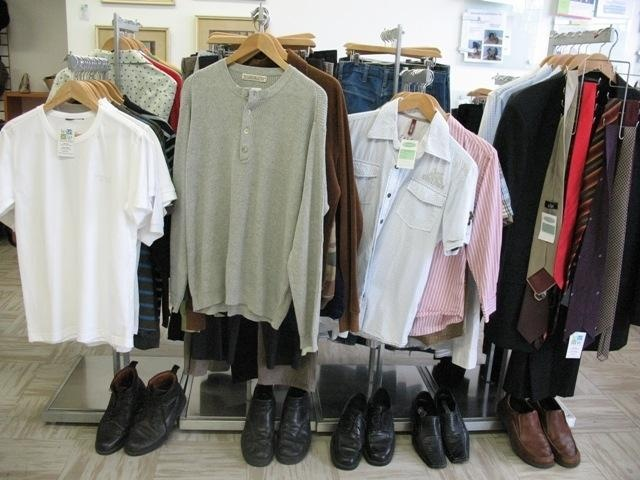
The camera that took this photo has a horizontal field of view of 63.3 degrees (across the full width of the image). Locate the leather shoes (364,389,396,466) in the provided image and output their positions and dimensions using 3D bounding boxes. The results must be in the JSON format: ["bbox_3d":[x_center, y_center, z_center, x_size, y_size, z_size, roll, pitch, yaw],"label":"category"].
[{"bbox_3d":[0.290,0.913,2.543,0.110,0.131,0.326,1,36,5],"label":"leather shoes"}]

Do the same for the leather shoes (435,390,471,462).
[{"bbox_3d":[0.650,0.924,2.595,0.118,0.093,0.346,-4,61,-7],"label":"leather shoes"}]

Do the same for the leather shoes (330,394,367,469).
[{"bbox_3d":[0.139,0.931,2.524,0.113,0.118,0.336,8,29,7],"label":"leather shoes"}]

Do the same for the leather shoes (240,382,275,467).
[{"bbox_3d":[-0.295,0.879,2.504,0.113,0.140,0.372,3,41,-1],"label":"leather shoes"}]

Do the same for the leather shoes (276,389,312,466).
[{"bbox_3d":[-0.127,0.892,2.514,0.179,0.292,0.224,2,15,0],"label":"leather shoes"}]

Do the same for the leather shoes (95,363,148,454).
[{"bbox_3d":[-0.973,0.818,2.546,0.152,0.308,0.332,4,16,9],"label":"leather shoes"}]

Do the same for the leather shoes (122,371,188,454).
[{"bbox_3d":[-0.777,0.852,2.560,0.150,0.186,0.444,18,48,3],"label":"leather shoes"}]
